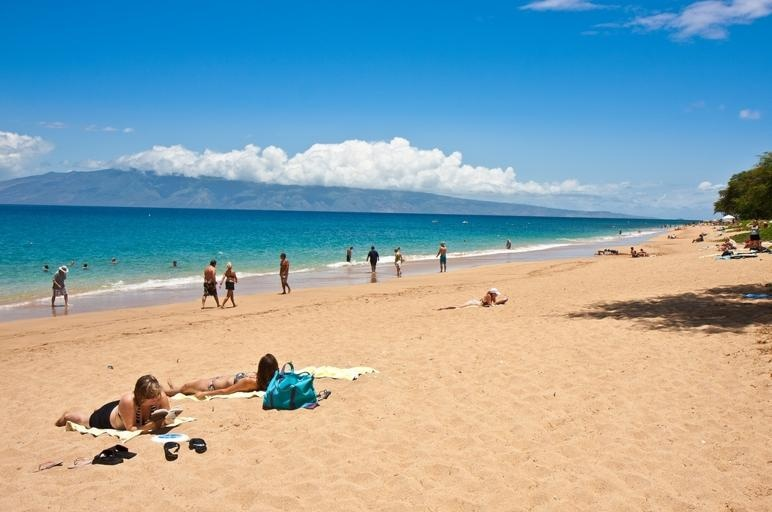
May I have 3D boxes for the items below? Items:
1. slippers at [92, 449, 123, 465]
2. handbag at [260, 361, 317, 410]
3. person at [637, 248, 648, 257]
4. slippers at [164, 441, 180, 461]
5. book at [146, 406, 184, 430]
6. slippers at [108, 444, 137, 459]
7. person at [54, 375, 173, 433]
[{"bbox_3d":[-5.440,3.946,12.246,0.543,0.261,0.301,-9,14,-25],"label":"slippers"},{"bbox_3d":[-2.202,2.953,14.000,1.389,0.802,0.643,1,6,2],"label":"handbag"},{"bbox_3d":[16.769,-0.232,40.931,0.993,0.339,1.216,3,9,18],"label":"person"},{"bbox_3d":[-4.225,3.897,12.432,0.306,0.291,0.332,9,29,3],"label":"slippers"},{"bbox_3d":[-4.569,3.388,13.129,0.687,0.179,0.580,-14,-5,12],"label":"book"},{"bbox_3d":[-5.206,3.874,12.329,0.447,0.081,0.281,4,-2,7],"label":"slippers"},{"bbox_3d":[-5.797,3.259,13.612,3.054,0.946,1.057,-6,-4,29],"label":"person"}]
